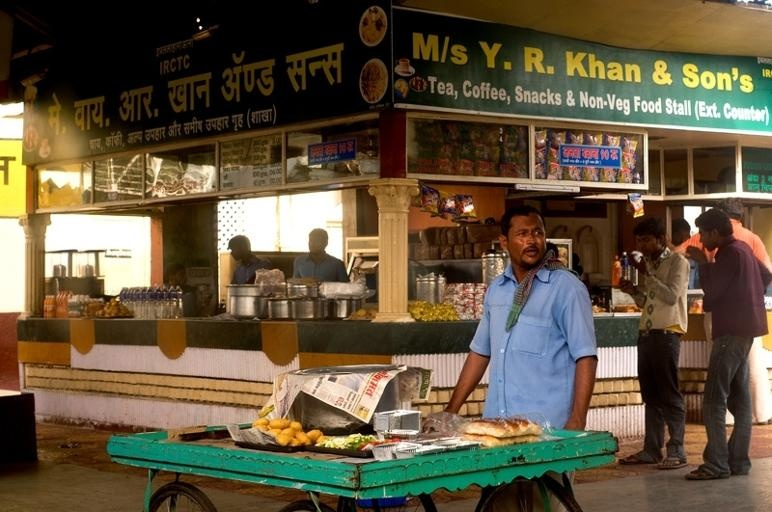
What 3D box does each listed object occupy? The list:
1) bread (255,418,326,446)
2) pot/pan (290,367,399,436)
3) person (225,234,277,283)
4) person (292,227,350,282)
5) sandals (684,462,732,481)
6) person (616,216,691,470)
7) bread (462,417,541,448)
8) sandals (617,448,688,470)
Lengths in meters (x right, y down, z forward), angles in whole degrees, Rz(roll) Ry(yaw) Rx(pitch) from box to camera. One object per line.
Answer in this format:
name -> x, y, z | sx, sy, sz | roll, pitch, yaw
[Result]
bread -> -0.625, 1.088, 5.001 | 0.461, 0.131, 0.338 | 0, -3, 9
pot/pan -> -0.286, 0.933, 5.150 | 0.658, 0.376, 0.130 | 0, -3, 9
person -> -1.842, 0.089, 11.525 | 0.487, 0.828, 0.855 | -1, 7, -15
person -> -0.896, -0.013, 11.146 | 0.778, 0.737, 0.381 | -1, -3, 30
sandals -> 3.242, 2.171, 8.153 | 0.427, 0.147, 0.174 | 1, -5, -1
person -> 3.023, 0.898, 9.012 | 0.806, 2.612, 0.844 | -4, 1, -42
bread -> 0.728, 1.084, 4.996 | 0.512, 0.154, 0.183 | 1, -3, -8
sandals -> 2.862, 2.210, 8.734 | 0.647, 0.204, 0.262 | 1, -6, 18
